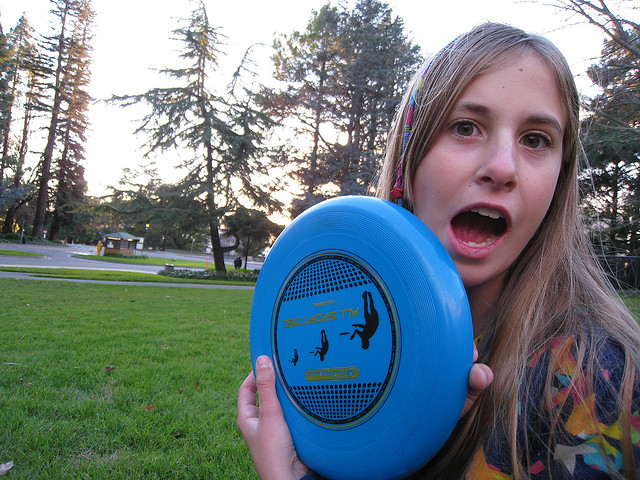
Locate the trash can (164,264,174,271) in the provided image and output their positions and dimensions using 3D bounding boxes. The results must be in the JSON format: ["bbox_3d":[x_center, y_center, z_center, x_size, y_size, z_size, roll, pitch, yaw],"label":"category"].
[{"bbox_3d":[-8.830,1.622,24.160,0.298,0.426,0.392,8,-1,8],"label":"trash can"}]

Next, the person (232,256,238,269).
[{"bbox_3d":[-7.262,1.954,35.366,0.339,1.102,0.741,-3,19,-25],"label":"person"}]
